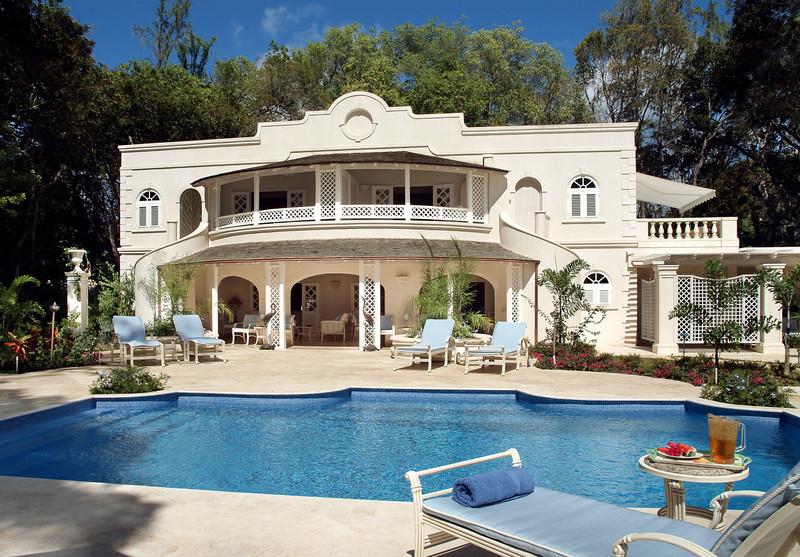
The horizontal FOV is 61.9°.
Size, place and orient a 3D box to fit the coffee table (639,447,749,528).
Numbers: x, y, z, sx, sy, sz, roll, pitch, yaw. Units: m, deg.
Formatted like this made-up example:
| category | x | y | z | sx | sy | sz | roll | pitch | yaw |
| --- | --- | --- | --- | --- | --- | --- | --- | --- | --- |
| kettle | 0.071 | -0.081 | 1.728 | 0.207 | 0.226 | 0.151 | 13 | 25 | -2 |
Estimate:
| category | x | y | z | sx | sy | sz | roll | pitch | yaw |
| --- | --- | --- | --- | --- | --- | --- | --- | --- | --- |
| coffee table | 4.171 | 2.848 | 9.622 | 1.277 | 0.889 | 1.308 | 1 | -8 | -4 |
